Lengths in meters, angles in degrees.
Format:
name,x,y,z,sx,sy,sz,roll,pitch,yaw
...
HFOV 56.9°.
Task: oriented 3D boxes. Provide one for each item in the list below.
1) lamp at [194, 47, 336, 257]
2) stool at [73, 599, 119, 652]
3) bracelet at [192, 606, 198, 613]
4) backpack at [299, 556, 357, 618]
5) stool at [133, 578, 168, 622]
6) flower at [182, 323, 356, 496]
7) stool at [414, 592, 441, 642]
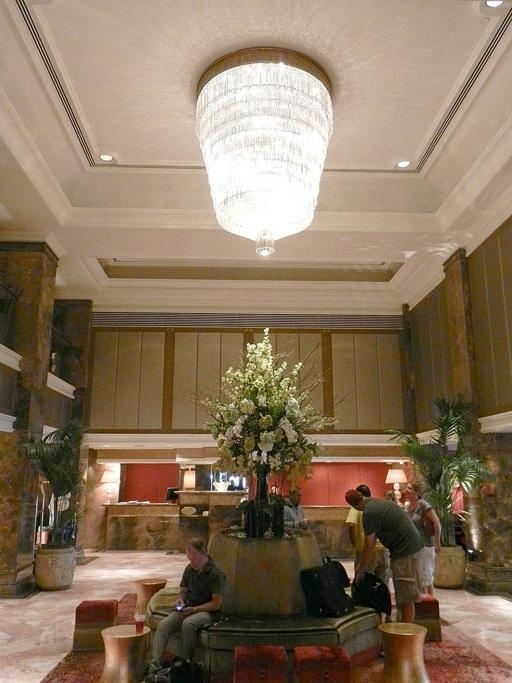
name,x,y,z,sx,sy,sz,roll,pitch,yaw
lamp,0.077,-1.679,4.482,1.571,1.743,1.332,0,-12,-3
stool,-1.313,2.330,3.992,0.358,0.346,0.417,0,-3,-7
bracelet,-0.378,1.684,2.962,0.029,0.008,0.028,0,1,-5
backpack,0.520,1.739,3.378,0.186,0.384,0.430,-26,-24,28
stool,-1.002,2.474,4.560,0.344,0.294,0.330,-2,-13,-1
flower,0.057,0.478,3.578,0.856,1.353,0.605,1,-17,0
stool,1.465,2.375,4.081,0.224,0.342,0.232,-3,3,-4
